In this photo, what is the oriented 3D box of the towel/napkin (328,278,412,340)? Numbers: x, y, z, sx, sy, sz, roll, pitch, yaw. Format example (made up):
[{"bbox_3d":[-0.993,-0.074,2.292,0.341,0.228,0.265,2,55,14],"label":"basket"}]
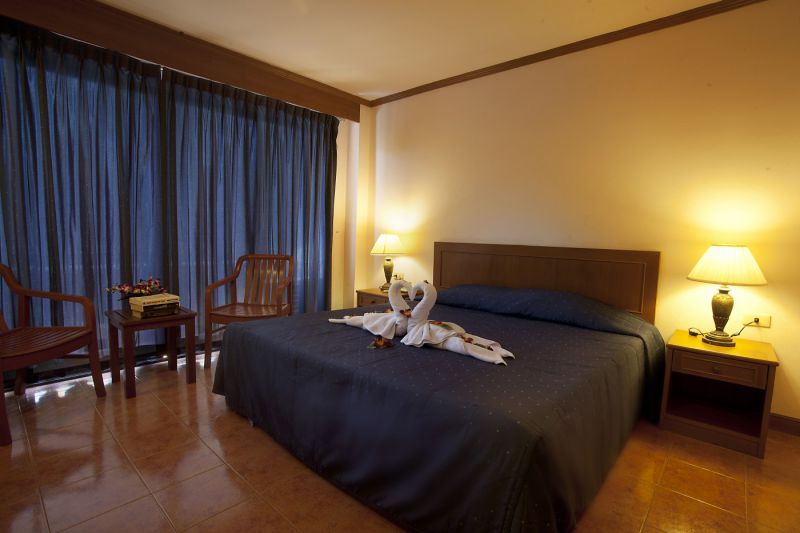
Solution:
[{"bbox_3d":[-0.229,0.376,4.166,0.633,0.398,0.323,-3,-3,29],"label":"towel/napkin"}]

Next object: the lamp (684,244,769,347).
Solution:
[{"bbox_3d":[2.629,0.188,4.401,0.768,0.901,0.651,-4,9,-33],"label":"lamp"}]

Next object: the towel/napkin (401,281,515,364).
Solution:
[{"bbox_3d":[0.415,0.409,3.904,0.975,0.482,0.441,13,9,37],"label":"towel/napkin"}]

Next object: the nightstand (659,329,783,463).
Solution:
[{"bbox_3d":[2.607,1.009,4.374,1.071,1.137,0.825,3,2,37],"label":"nightstand"}]

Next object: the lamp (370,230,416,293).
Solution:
[{"bbox_3d":[-0.117,-0.042,6.099,0.578,0.929,0.586,1,1,0],"label":"lamp"}]
